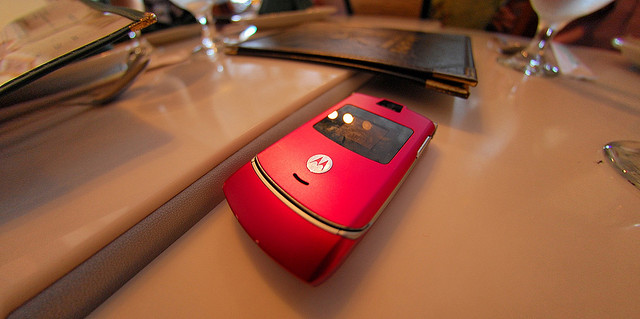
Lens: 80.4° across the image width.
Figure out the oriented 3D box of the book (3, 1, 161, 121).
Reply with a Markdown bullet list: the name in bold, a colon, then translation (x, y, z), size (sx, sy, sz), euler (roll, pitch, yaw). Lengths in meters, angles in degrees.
- **book**: translation (-0.495, -0.190, 0.849), size (0.284, 0.287, 0.084), euler (29, -40, 20)

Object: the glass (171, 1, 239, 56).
- **glass**: translation (-0.299, -0.337, 1.037), size (0.168, 0.165, 0.161), euler (-7, 36, -26)
